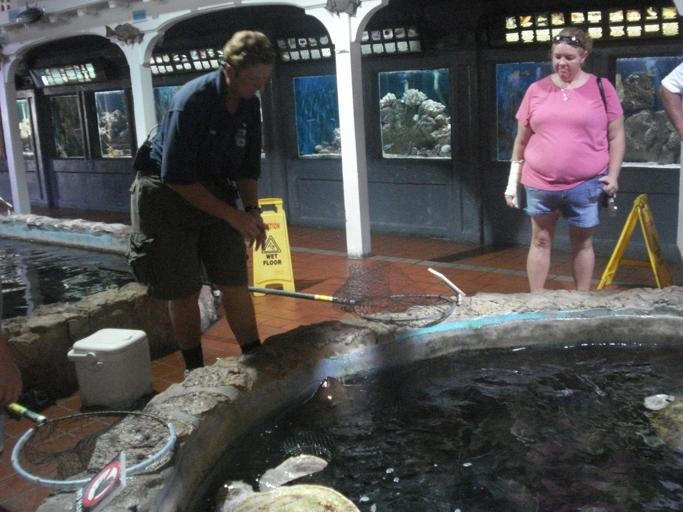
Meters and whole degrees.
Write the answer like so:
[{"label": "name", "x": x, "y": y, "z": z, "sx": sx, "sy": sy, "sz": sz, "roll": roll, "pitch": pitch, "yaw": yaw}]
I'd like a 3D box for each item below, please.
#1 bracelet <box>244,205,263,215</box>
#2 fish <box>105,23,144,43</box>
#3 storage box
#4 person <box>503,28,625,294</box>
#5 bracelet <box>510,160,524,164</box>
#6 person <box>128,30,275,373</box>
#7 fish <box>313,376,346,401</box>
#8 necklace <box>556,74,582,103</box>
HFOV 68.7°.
[{"label": "bracelet", "x": -0.600, "y": -0.304, "z": 3.381, "sx": 0.083, "sy": 0.025, "sz": 0.067, "roll": 6, "pitch": 14, "yaw": 27}, {"label": "fish", "x": -3.733, "y": -3.852, "z": 8.649, "sx": 0.805, "sy": 0.319, "sz": 0.215, "roll": 13, "pitch": 49, "yaw": 9}, {"label": "storage box", "x": -1.667, "y": 0.814, "z": 3.640, "sx": 0.509, "sy": 0.418, "sz": 0.518, "roll": 1, "pitch": 7, "yaw": 30}, {"label": "person", "x": 1.936, "y": -0.810, "z": 4.383, "sx": 0.950, "sy": 2.260, "sz": 0.575, "roll": 2, "pitch": 16, "yaw": 24}, {"label": "bracelet", "x": 1.668, "y": -0.882, "z": 4.721, "sx": 0.055, "sy": 0.035, "sz": 0.054, "roll": 15, "pitch": 24, "yaw": 40}, {"label": "person", "x": -0.832, "y": -0.279, "z": 3.333, "sx": 1.129, "sy": 2.187, "sz": 0.709, "roll": 3, "pitch": 16, "yaw": 26}, {"label": "fish", "x": -0.067, "y": 0.747, "z": 2.798, "sx": 0.178, "sy": 0.091, "sz": 0.130, "roll": -3, "pitch": 13, "yaw": -1}, {"label": "necklace", "x": 1.953, "y": -1.438, "z": 4.315, "sx": 0.166, "sy": 0.231, "sz": 0.049, "roll": 29, "pitch": 32, "yaw": 33}]
